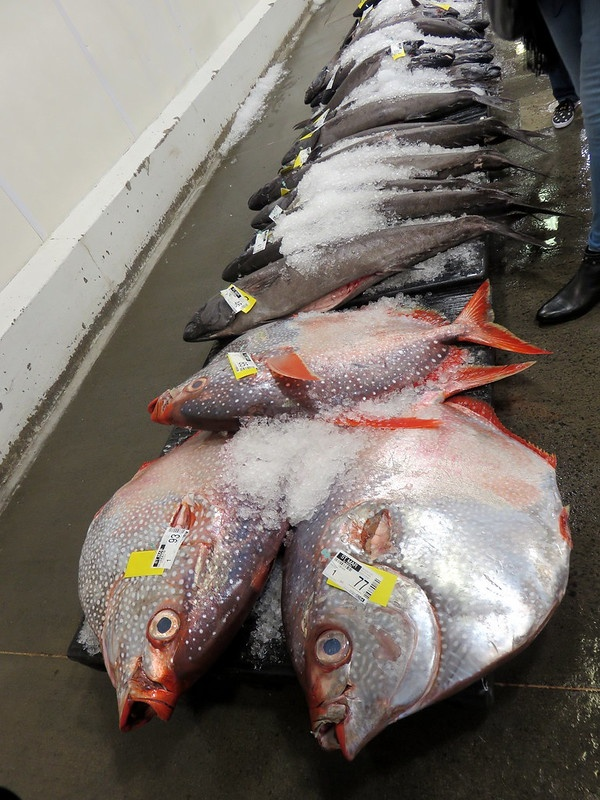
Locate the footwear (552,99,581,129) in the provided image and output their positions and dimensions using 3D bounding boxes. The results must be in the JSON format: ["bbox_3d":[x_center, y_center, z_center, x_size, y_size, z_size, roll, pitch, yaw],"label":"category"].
[{"bbox_3d":[1.116,-1.197,3.042,0.064,0.065,0.166,9,49,39],"label":"footwear"}]

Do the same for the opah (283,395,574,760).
[{"bbox_3d":[0.455,0.440,1.810,0.842,0.282,0.606,-50,46,-9],"label":"opah"}]

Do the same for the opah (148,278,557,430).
[{"bbox_3d":[0.212,-0.142,2.203,0.945,0.219,0.333,-17,38,-6],"label":"opah"}]

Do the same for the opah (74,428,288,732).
[{"bbox_3d":[-0.247,0.474,1.991,0.496,0.301,0.795,7,46,29],"label":"opah"}]
